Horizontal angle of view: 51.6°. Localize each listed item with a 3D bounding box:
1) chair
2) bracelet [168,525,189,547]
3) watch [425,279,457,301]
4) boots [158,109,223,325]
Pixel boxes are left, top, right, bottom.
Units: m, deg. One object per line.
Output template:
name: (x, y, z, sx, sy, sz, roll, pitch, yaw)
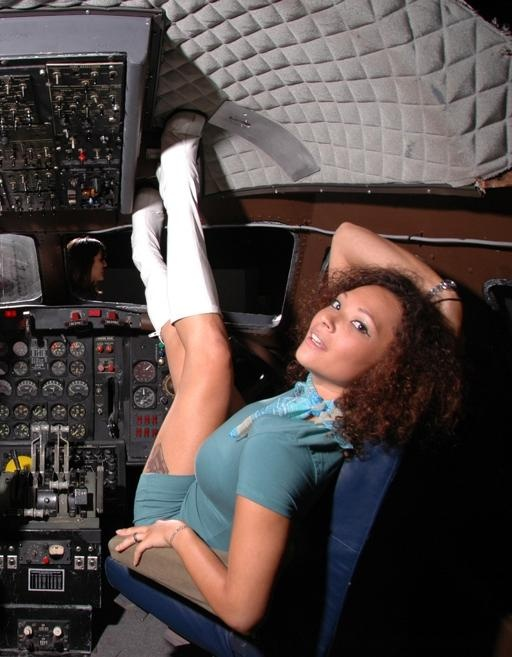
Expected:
chair: (-0.028, 0.540, 1.511, 0.735, 0.605, 0.430, 16, -13, 23)
bracelet: (-0.186, 0.476, 1.220, 0.018, 0.046, 0.042, 29, 28, -2)
watch: (0.467, -0.097, 1.362, 0.052, 0.037, 0.068, 41, -25, -18)
boots: (-0.209, -0.336, 1.567, 0.202, 0.685, 0.139, 1, -36, -11)
